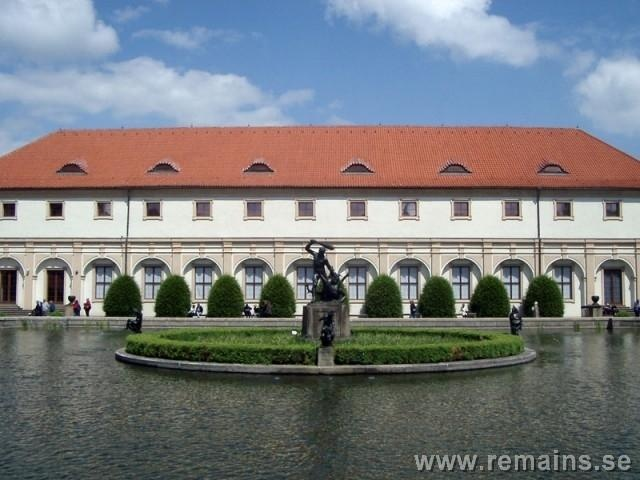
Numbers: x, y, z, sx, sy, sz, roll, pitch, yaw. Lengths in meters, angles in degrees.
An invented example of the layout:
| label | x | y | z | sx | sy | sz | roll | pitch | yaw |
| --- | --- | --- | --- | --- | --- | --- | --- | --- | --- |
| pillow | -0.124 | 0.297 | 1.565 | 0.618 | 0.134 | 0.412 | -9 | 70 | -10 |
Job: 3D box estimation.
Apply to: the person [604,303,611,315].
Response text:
| label | x | y | z | sx | sy | sz | roll | pitch | yaw |
| --- | --- | --- | --- | --- | --- | --- | --- | --- | --- |
| person | 17.904 | 4.390 | 60.143 | 0.491 | 0.675 | 2.026 | -1 | -4 | 15 |

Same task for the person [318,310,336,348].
| label | x | y | z | sx | sy | sz | roll | pitch | yaw |
| --- | --- | --- | --- | --- | --- | --- | --- | --- | --- |
| person | 0.247 | 3.756 | 39.863 | 0.498 | 1.451 | 0.659 | 0 | -5 | 5 |
